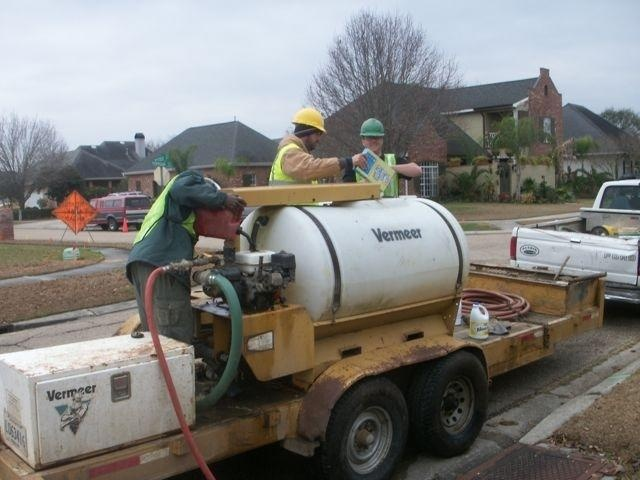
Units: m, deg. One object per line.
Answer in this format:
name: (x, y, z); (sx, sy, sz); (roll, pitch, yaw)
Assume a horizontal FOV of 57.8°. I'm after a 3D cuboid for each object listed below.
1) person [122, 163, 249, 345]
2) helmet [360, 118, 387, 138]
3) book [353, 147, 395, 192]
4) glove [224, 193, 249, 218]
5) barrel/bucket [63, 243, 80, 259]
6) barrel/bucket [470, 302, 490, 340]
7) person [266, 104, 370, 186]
person: (-1.186, 0.156, 4.894); (1.021, 1.450, 0.566); (-1, 8, -1)
helmet: (0.584, -1.260, 6.598); (0.194, 0.167, 0.291); (0, 5, -3)
book: (0.506, -0.651, 5.808); (0.392, 0.412, 0.107); (40, -35, -18)
glove: (-0.693, -0.274, 4.833); (0.116, 0.235, 0.096); (25, 45, 3)
barrel/bucket: (-7.000, 0.392, 16.371); (0.464, 0.526, 0.394); (-1, -2, 8)
barrel/bucket: (1.657, 0.848, 6.033); (0.179, 0.353, 0.186); (-3, 9, 0)
person: (-0.084, -0.909, 5.560); (0.747, 0.735, 0.718); (7, 12, 43)
